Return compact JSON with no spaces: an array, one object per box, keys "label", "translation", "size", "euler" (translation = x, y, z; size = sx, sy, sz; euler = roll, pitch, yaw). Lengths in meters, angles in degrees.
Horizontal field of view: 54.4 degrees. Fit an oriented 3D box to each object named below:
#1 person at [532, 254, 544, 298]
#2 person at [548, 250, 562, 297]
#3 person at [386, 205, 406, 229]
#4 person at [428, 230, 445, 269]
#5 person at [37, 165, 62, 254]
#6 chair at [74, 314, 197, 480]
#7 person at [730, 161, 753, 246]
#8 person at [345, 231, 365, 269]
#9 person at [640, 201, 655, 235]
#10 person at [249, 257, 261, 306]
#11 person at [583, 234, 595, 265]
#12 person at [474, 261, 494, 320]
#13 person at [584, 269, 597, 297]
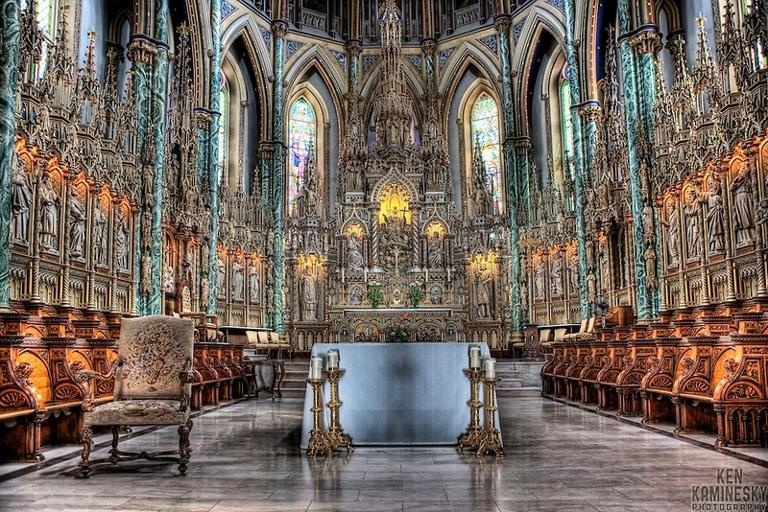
[{"label":"person","translation":[4.897,0.676,23.443],"size":[0.151,1.320,0.615],"euler":[-1,4,-11]},{"label":"person","translation":[5.251,0.553,22.644],"size":[0.152,1.346,0.670],"euler":[-1,4,-9]},{"label":"person","translation":[0.492,-1.354,25.818],"size":[0.534,0.713,0.370],"euler":[0,-16,3]},{"label":"person","translation":[1.794,-0.242,25.553],"size":[0.564,1.227,0.393],"euler":[0,4,-1]},{"label":"person","translation":[-6.569,-0.883,14.629],"size":[0.204,1.636,0.724],"euler":[-1,4,-6]},{"label":"chair","translation":[-3.415,1.880,10.461],"size":[1.594,2.034,1.697],"euler":[0,4,-3]},{"label":"person","translation":[6.806,-0.976,14.181],"size":[0.217,1.618,0.504],"euler":[-1,4,-15]},{"label":"person","translation":[-0.966,-0.153,25.464],"size":[0.586,1.294,0.484],"euler":[0,4,-3]},{"label":"person","translation":[6.037,-0.866,17.007],"size":[0.259,0.722,0.117],"euler":[1,4,15]},{"label":"person","translation":[-4.145,0.823,23.963],"size":[0.173,1.368,0.688],"euler":[1,4,13]},{"label":"person","translation":[5.664,-0.152,20.552],"size":[0.096,0.875,0.265],"euler":[-4,5,-44]},{"label":"person","translation":[3.383,1.081,25.004],"size":[0.635,1.903,0.409],"euler":[1,4,12]},{"label":"person","translation":[5.721,0.785,20.516],"size":[0.272,0.787,0.134],"euler":[1,4,20]}]
